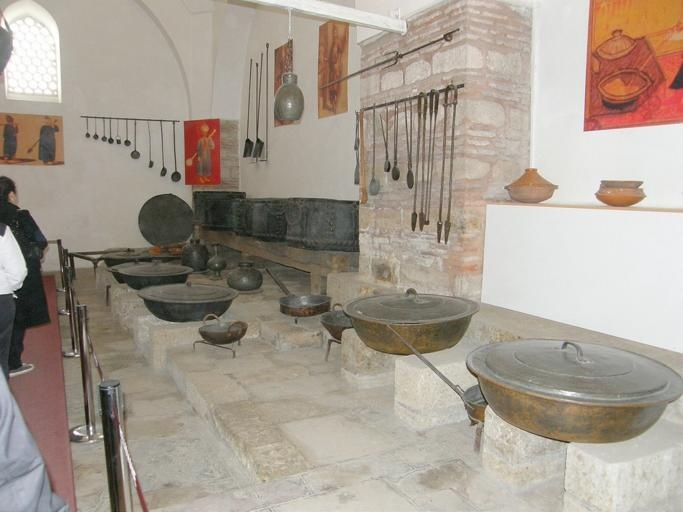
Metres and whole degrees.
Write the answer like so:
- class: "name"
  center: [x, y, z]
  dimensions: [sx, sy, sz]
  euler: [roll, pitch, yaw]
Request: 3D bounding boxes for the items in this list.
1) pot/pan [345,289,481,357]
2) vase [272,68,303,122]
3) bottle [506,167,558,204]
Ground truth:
- class: "pot/pan"
  center: [0.365, 0.446, 3.283]
  dimensions: [0.807, 0.425, 0.851]
  euler: [-2, 5, -35]
- class: "vase"
  center: [-0.446, -1.355, 4.194]
  dimensions: [0.223, 0.410, 0.274]
  euler: [-1, 12, -10]
- class: "bottle"
  center: [1.425, -0.504, 3.823]
  dimensions: [0.367, 0.277, 0.294]
  euler: [11, 6, -18]
